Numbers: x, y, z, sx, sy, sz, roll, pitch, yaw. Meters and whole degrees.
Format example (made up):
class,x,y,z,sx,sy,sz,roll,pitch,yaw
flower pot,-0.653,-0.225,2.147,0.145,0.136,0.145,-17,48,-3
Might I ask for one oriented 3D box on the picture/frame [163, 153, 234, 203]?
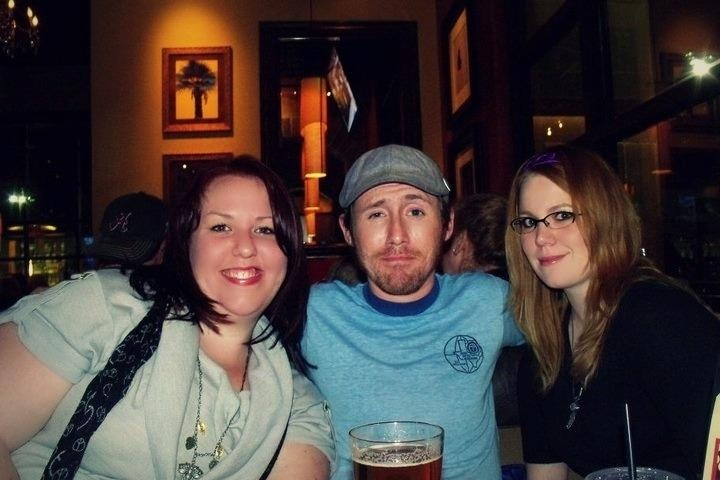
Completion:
class,x,y,z,sx,sy,sz,roll,pitch,yaw
picture/frame,-1.751,-0.555,6.839,0.828,0.833,0.069,-6,9,-33

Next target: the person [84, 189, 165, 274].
class,x,y,z,sx,sy,sz,roll,pitch,yaw
person,-1.733,-0.126,4.769,0.516,0.434,0.855,5,13,9

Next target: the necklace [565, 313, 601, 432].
class,x,y,z,sx,sy,sz,roll,pitch,yaw
necklace,1.131,0.690,3.181,0.156,0.601,0.063,14,5,37

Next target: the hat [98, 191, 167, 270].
class,x,y,z,sx,sy,sz,roll,pitch,yaw
hat,-1.637,-0.055,4.555,0.392,0.315,0.602,7,39,7
